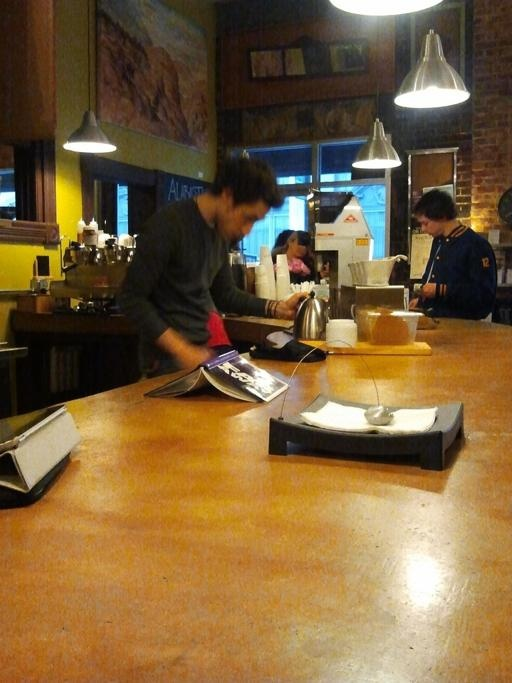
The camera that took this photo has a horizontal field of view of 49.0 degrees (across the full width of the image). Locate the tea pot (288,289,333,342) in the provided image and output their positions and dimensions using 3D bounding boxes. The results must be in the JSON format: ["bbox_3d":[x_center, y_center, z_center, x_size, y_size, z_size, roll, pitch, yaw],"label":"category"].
[{"bbox_3d":[0.207,-0.100,2.136,0.129,0.191,0.169,1,0,4],"label":"tea pot"}]

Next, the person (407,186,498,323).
[{"bbox_3d":[1.263,-0.568,3.643,0.550,0.863,0.645,5,9,31],"label":"person"}]

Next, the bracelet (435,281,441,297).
[{"bbox_3d":[1.146,-0.326,3.527,0.045,0.095,0.062,0,-2,12],"label":"bracelet"}]

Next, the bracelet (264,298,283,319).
[{"bbox_3d":[0.063,-0.127,2.188,0.060,0.072,0.054,6,15,4],"label":"bracelet"}]

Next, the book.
[{"bbox_3d":[-0.084,0.078,1.237,0.318,0.087,0.201,-2,9,-14],"label":"book"}]

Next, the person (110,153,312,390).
[{"bbox_3d":[-0.166,-0.265,1.955,0.476,0.733,0.705,4,9,29],"label":"person"}]
